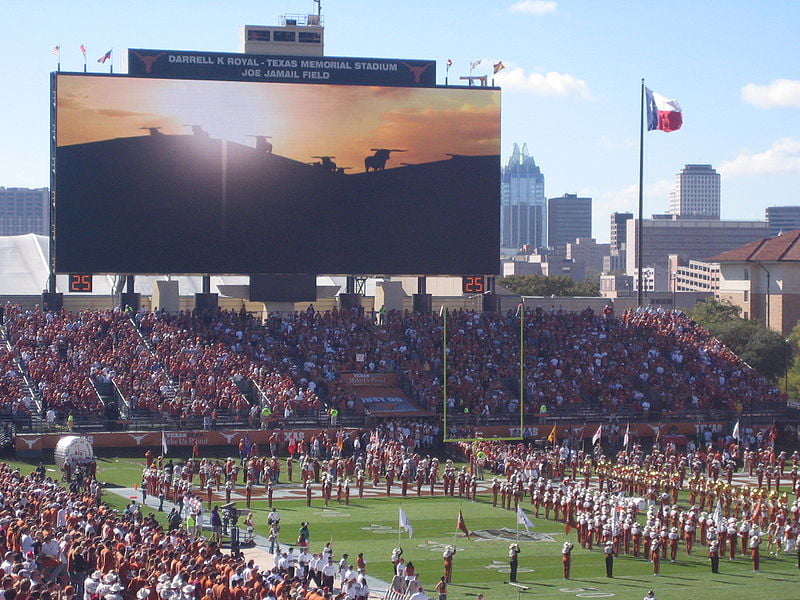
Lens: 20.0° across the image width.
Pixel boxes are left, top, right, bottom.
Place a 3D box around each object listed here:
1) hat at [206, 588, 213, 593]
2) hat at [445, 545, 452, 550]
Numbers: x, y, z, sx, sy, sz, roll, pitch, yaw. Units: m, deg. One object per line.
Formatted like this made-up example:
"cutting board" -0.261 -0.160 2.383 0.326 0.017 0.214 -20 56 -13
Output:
"hat" -6.697 10.173 79.391 0.135 0.208 0.197 15 -26 -12
"hat" 1.777 9.214 84.623 0.200 0.122 0.304 0 -1 5
